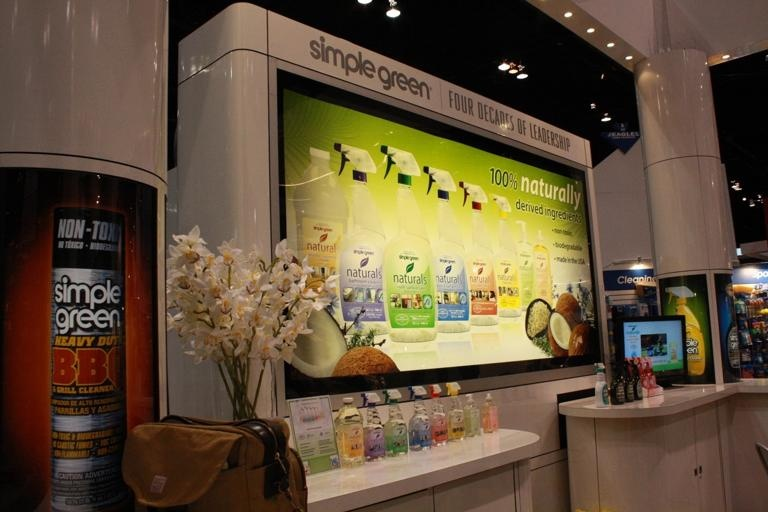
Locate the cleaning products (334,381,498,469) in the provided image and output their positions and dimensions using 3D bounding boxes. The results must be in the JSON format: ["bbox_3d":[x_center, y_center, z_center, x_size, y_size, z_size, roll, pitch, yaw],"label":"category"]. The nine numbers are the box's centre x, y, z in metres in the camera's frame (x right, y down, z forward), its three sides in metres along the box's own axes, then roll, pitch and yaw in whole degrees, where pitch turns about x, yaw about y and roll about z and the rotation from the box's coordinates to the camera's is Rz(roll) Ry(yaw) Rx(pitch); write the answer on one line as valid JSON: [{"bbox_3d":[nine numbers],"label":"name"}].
[{"bbox_3d":[0.183,0.982,3.421,1.251,0.385,0.269,2,-8,-39],"label":"cleaning products"}]

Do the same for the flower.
[{"bbox_3d":[-0.713,0.210,2.636,0.656,1.089,0.572,4,-4,-42],"label":"flower"}]

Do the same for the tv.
[{"bbox_3d":[2.373,0.842,4.985,0.785,0.612,0.103,4,-10,-32],"label":"tv"}]
